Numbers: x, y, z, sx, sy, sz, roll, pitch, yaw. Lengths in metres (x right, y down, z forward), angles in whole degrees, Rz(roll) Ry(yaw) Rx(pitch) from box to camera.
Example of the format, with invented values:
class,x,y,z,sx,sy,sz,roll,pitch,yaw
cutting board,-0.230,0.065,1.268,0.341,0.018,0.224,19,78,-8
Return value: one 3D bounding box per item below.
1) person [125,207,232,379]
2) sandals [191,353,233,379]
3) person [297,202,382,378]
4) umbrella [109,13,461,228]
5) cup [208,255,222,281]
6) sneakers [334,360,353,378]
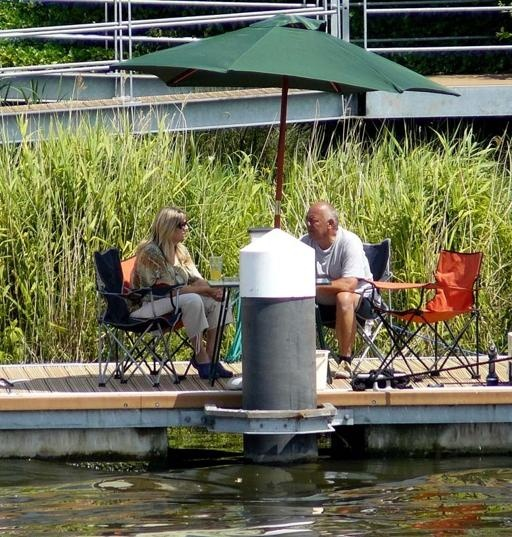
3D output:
class,x,y,z,sx,sy,sz,roll,pitch,yaw
person,-0.502,0.168,11.217,0.710,1.172,0.771,-1,7,-9
sandals,-0.301,0.685,11.277,0.242,0.081,0.148,23,20,28
person,0.533,0.149,11.350,0.535,1.229,0.618,-3,-6,37
umbrella,0.120,-1.004,10.941,1.950,1.380,1.708,6,10,42
cup,-0.254,-0.001,11.006,0.111,0.225,0.123,1,-2,-22
sneakers,0.596,0.666,11.245,0.112,0.136,0.333,0,7,-2
